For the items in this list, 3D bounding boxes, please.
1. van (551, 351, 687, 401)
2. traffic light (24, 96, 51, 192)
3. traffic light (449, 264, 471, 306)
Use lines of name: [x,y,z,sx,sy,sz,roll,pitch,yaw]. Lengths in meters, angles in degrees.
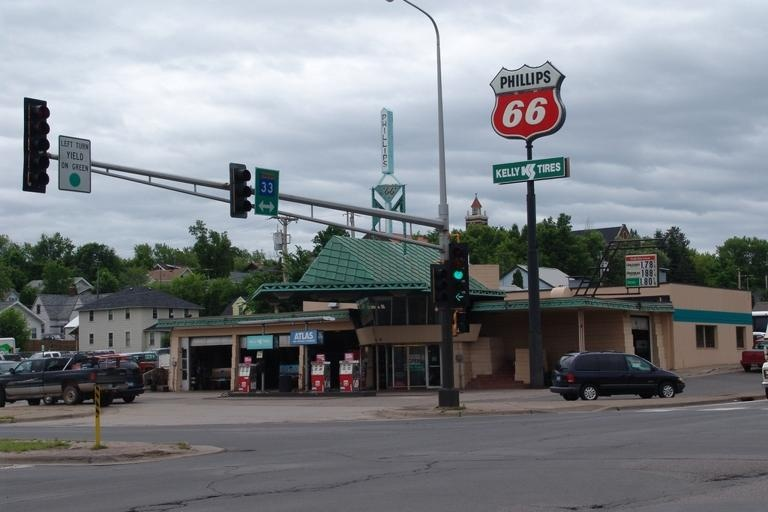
van: [10.911,5.565,56.726,6.203,2.178,2.603,1,-2,-17]
traffic light: [-12.526,-4.045,44.447,0.894,3.324,1.111,3,3,40]
traffic light: [3.194,1.215,50.785,0.793,1.698,0.375,1,-9,-11]
